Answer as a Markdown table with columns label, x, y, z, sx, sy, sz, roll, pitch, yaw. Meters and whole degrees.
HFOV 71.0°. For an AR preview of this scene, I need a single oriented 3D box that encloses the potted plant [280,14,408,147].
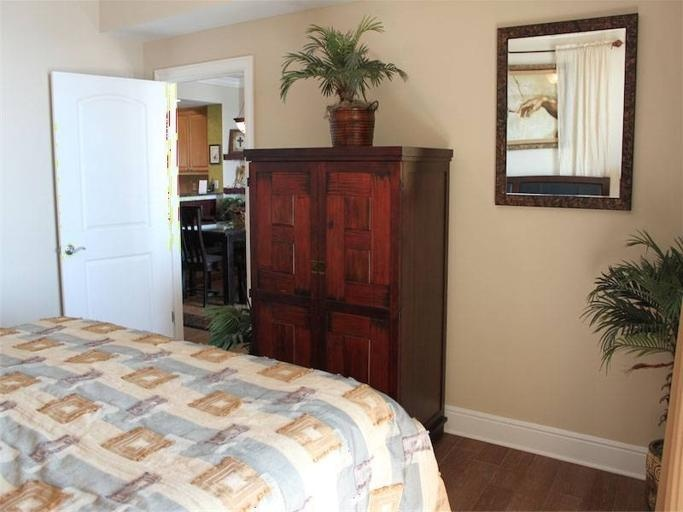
| label | x | y | z | sx | sy | sz | roll | pitch | yaw |
| --- | --- | --- | --- | --- | --- | --- | --- | --- | --- |
| potted plant | 0.085 | -0.997 | 2.876 | 0.626 | 0.623 | 0.663 | 1 | 19 | 25 |

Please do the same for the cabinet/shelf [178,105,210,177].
| label | x | y | z | sx | sy | sz | roll | pitch | yaw |
| --- | --- | --- | --- | --- | --- | --- | --- | --- | --- |
| cabinet/shelf | -2.719 | -2.085 | 8.787 | 0.816 | 1.205 | 0.241 | 12 | 14 | 41 |

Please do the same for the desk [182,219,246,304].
| label | x | y | z | sx | sy | sz | roll | pitch | yaw |
| --- | --- | --- | --- | --- | --- | --- | --- | --- | --- |
| desk | -1.612 | 0.081 | 6.104 | 0.881 | 1.222 | 0.759 | 9 | 13 | 43 |
